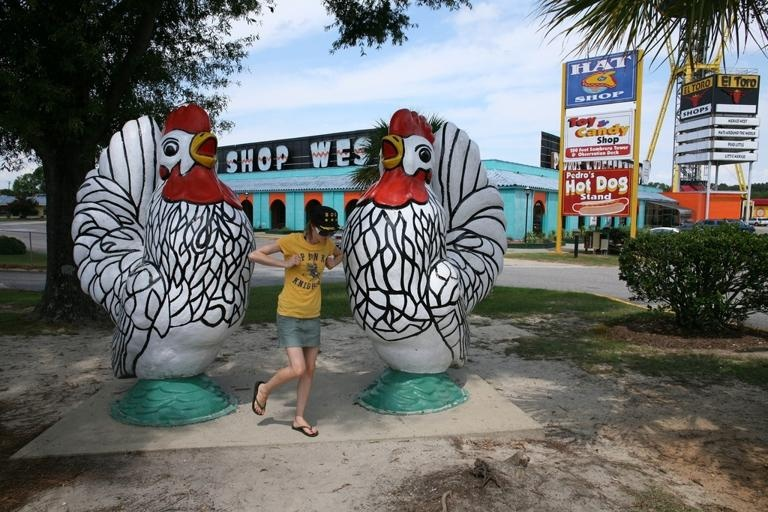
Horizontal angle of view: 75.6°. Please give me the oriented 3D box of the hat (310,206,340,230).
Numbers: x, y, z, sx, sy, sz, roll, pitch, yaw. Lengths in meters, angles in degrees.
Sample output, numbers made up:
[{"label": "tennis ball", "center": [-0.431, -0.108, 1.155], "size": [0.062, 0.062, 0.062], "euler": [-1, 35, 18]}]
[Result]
[{"label": "hat", "center": [-0.636, -0.410, 5.236], "size": [0.206, 0.169, 0.289], "euler": [-5, 19, -41]}]

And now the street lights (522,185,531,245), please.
[{"label": "street lights", "center": [8.692, -2.647, 29.865], "size": [0.294, 2.750, 0.892], "euler": [9, 14, 38]}]

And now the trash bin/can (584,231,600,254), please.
[{"label": "trash bin/can", "center": [10.858, -0.767, 25.759], "size": [0.584, 1.199, 2.164], "euler": [4, 12, 18]}]

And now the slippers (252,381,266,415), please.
[{"label": "slippers", "center": [-1.398, 1.596, 5.499], "size": [0.184, 0.465, 0.110], "euler": [-3, 9, -19]}]

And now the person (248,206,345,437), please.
[{"label": "person", "center": [-0.957, 0.669, 5.364], "size": [0.997, 2.391, 0.693], "euler": [-1, 11, -6]}]

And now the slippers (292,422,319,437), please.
[{"label": "slippers", "center": [-0.845, 1.851, 5.330], "size": [0.207, 0.068, 0.135], "euler": [7, 7, 29]}]
